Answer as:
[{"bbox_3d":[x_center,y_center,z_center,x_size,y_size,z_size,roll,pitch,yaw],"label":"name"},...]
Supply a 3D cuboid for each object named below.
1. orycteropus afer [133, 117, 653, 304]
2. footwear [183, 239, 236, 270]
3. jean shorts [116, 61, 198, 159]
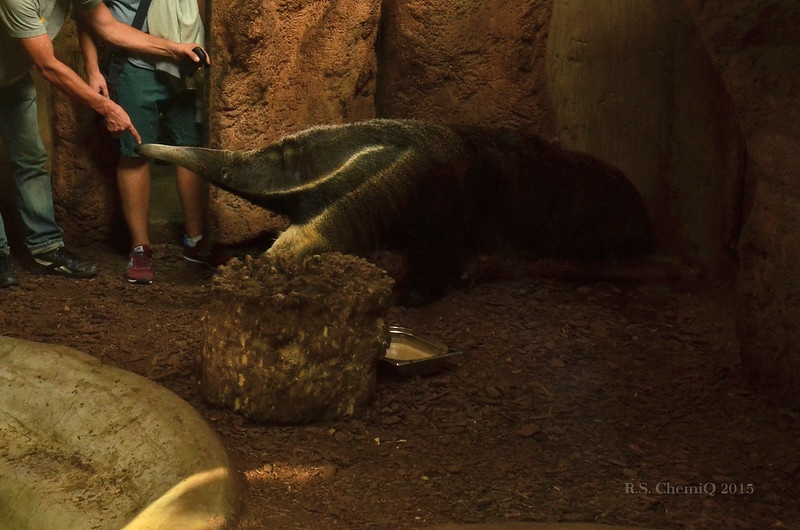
[{"bbox_3d":[-0.332,-0.370,5.051,3.576,1.190,0.985,3,9,-3],"label":"orycteropus afer"},{"bbox_3d":[-1.175,-0.072,5.204,0.310,0.123,0.113,8,38,17],"label":"footwear"},{"bbox_3d":[-1.519,-0.949,5.130,0.194,0.470,0.371,-3,18,35],"label":"jean shorts"}]
